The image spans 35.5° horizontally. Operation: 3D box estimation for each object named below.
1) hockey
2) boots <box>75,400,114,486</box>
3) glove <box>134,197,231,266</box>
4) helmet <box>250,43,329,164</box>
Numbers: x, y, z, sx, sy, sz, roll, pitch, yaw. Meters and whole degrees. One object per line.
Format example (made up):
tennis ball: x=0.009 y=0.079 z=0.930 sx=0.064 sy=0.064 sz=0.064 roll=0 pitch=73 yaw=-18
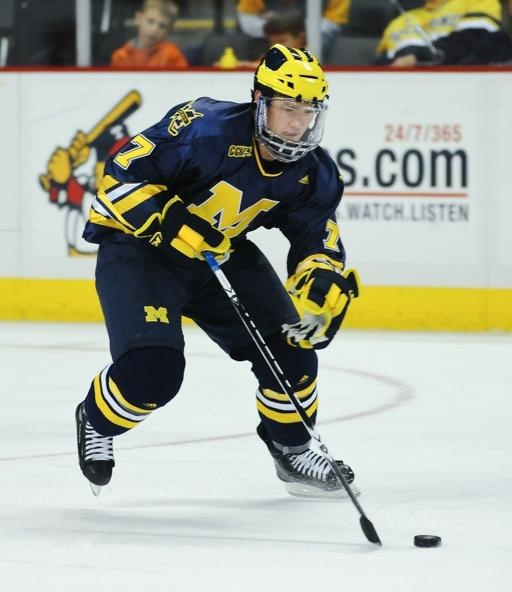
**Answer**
hockey: x=0.087 y=0.296 z=2.231 sx=0.081 sy=0.876 sz=0.035 roll=-24 pitch=-18 yaw=-31
boots: x=-0.442 y=0.355 z=2.002 sx=0.088 sy=0.233 sz=0.110 roll=-3 pitch=-32 yaw=-29
glove: x=-0.164 y=-0.148 z=1.895 sx=0.212 sy=0.107 sz=0.062 roll=24 pitch=6 yaw=-19
helmet: x=0.079 y=-0.479 z=1.965 sx=0.181 sy=0.294 sz=0.197 roll=-3 pitch=8 yaw=-18
